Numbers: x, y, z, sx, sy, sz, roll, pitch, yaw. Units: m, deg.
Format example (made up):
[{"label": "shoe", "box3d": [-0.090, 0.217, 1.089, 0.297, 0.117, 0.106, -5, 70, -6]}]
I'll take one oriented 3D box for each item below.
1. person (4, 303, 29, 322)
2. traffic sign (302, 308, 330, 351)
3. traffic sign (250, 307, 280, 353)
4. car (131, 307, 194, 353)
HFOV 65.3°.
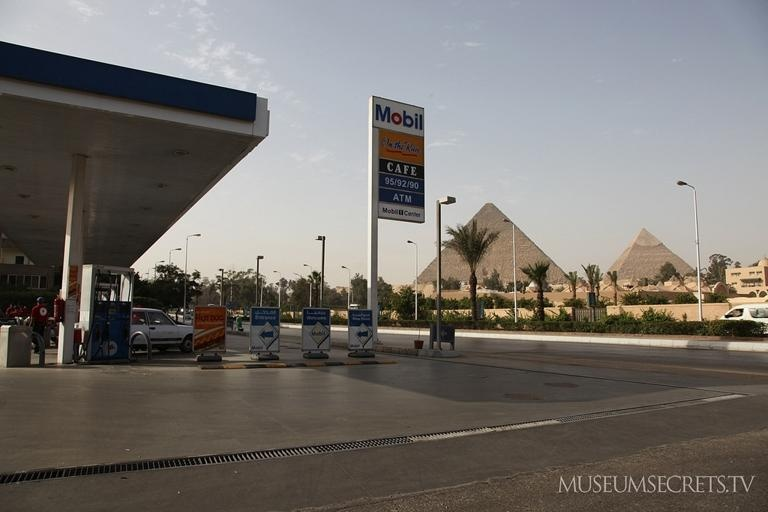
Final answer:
[{"label": "person", "box3d": [-18.579, 2.851, 30.257, 1.036, 0.368, 0.815, 4, 2, 23]}, {"label": "traffic sign", "box3d": [-2.596, 2.812, 22.847, 1.156, 1.249, 0.693, -1, -1, -20]}, {"label": "traffic sign", "box3d": [-4.415, 2.730, 22.016, 1.009, 1.233, 0.591, -1, -1, -13]}, {"label": "car", "box3d": [-9.370, 3.085, 25.088, 2.931, 1.379, 1.673, 3, -5, -39]}]
